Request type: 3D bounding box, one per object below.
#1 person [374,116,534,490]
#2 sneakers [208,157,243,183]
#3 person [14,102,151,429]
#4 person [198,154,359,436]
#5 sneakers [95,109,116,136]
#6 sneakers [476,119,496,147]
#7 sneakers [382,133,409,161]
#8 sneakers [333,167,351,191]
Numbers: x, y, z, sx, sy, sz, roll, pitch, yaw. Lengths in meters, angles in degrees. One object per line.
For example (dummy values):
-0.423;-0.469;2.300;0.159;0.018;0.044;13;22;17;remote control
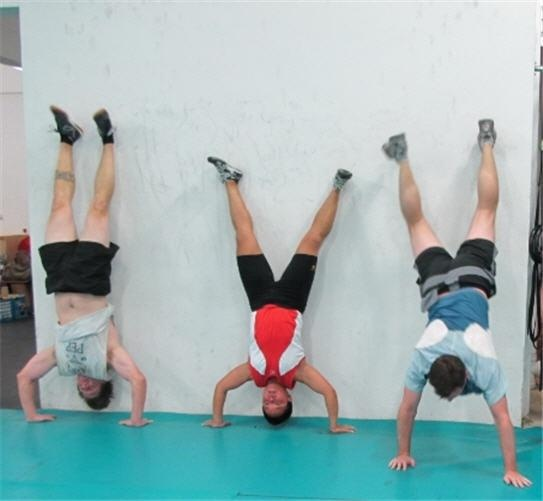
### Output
1.101;0.249;3.815;0.753;2.140;0.496;-1;-13;27;person
-0.305;-0.546;4.293;0.213;0.153;0.066;19;-5;7;sneakers
-1.284;0.201;4.538;0.811;2.300;0.464;-1;-3;1;person
0.039;0.288;4.201;0.949;1.753;0.598;0;13;8;person
-1.153;-0.881;4.426;0.100;0.204;0.067;-15;3;0;sneakers
1.390;-0.773;4.120;0.105;0.181;0.059;-1;-6;10;sneakers
0.809;-0.688;4.182;0.127;0.145;0.181;-5;19;-9;sneakers
0.474;-0.475;4.232;0.123;0.147;0.120;1;14;9;sneakers
